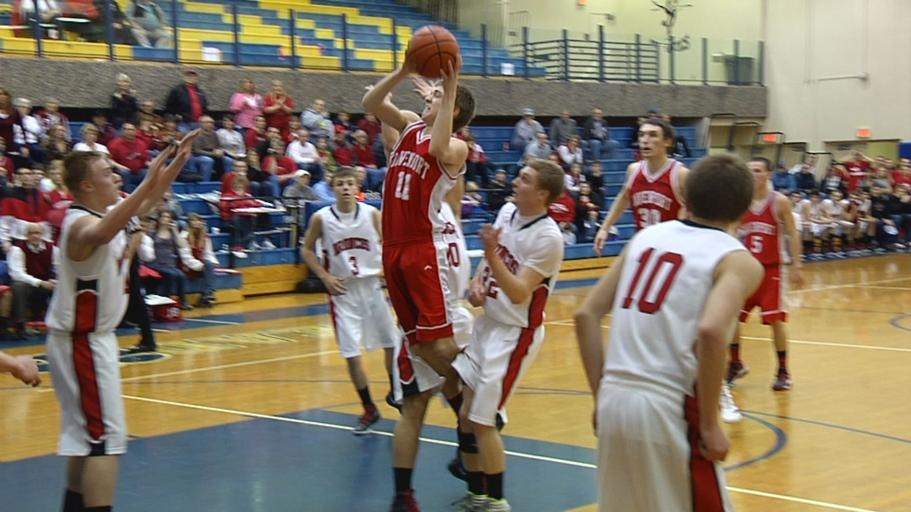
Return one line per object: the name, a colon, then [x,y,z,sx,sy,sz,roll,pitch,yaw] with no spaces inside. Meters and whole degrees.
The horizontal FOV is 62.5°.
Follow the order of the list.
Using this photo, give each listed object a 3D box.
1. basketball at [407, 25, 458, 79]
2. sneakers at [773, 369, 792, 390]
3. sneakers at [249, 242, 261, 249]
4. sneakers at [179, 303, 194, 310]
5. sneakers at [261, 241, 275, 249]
basketball: [-0.119,-1.711,6.509,0.538,0.428,0.476,4,-4,9]
sneakers: [3.945,1.480,8.993,0.218,0.240,0.173,4,12,21]
sneakers: [-3.924,-0.211,14.728,0.067,0.144,0.250,8,13,36]
sneakers: [-4.784,0.895,13.306,0.182,0.112,0.052,-4,49,-12]
sneakers: [-3.704,-0.241,14.916,0.234,0.186,0.102,-11,15,-43]
